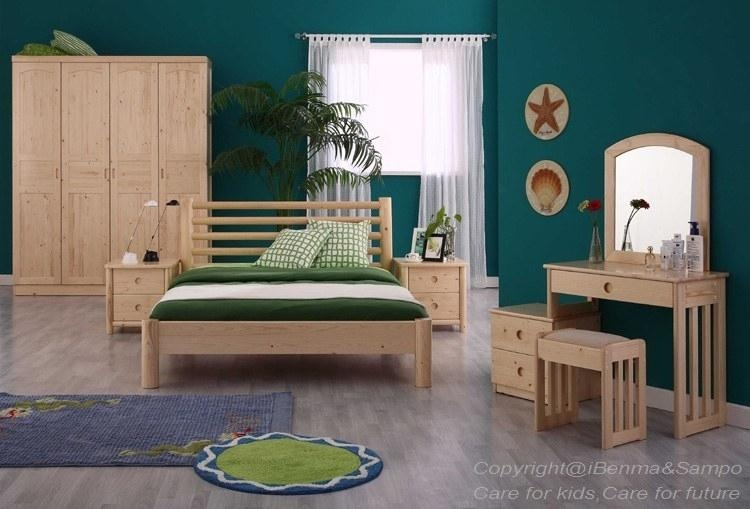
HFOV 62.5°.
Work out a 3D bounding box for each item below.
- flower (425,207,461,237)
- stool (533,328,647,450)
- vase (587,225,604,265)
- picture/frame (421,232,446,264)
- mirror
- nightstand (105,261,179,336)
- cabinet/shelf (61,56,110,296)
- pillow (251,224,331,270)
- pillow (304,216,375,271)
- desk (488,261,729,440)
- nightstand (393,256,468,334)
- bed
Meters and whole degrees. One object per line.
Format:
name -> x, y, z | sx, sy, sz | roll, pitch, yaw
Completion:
flower -> 0.648, -0.304, 6.074 | 0.440, 0.213, 0.427 | -1, -5, 1
stool -> 1.197, 0.711, 3.424 | 0.593, 0.565, 0.385 | 5, 11, 25
vase -> 1.446, -0.088, 4.037 | 0.089, 0.225, 0.366 | 4, 10, 19
picture/frame -> 0.556, -0.061, 5.773 | 0.320, 0.360, 0.030 | 0, -20, 30
mirror -> 1.745, -0.328, 3.777 | 0.051, 0.983, 0.879 | -3, 4, -31
nightstand -> -2.035, 0.384, 5.680 | 0.651, 0.612, 0.639 | -1, 1, -5
cabinet/shelf -> -3.295, -0.926, 7.050 | 0.570, 2.502, 0.366 | 0, 10, -1
pillow -> -0.746, -0.036, 5.450 | 0.588, 0.186, 0.624 | -7, 25, 11
pillow -> -0.278, -0.075, 5.433 | 0.484, 0.423, 0.143 | 2, -24, 2
desk -> 1.599, 0.539, 3.896 | 0.466, 0.885, 1.065 | -2, 4, -25
nightstand -> 0.495, 0.352, 5.580 | 0.617, 0.601, 0.624 | 0, 2, -4
bed -> -0.847, 0.118, 5.065 | 1.844, 0.994, 2.180 | -3, 12, -18
